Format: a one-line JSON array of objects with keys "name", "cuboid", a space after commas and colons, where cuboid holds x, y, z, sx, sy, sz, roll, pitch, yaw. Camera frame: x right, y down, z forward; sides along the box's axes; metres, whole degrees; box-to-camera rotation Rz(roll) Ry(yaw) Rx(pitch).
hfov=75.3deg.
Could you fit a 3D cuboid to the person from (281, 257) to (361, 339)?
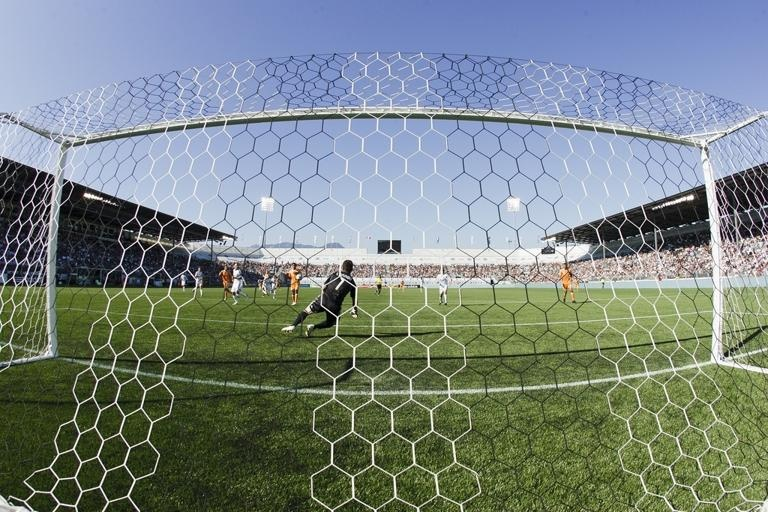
[{"name": "person", "cuboid": [-0.911, 0.736, 7.834, 0.911, 1.344, 1.710, 0, 2, -5]}]
